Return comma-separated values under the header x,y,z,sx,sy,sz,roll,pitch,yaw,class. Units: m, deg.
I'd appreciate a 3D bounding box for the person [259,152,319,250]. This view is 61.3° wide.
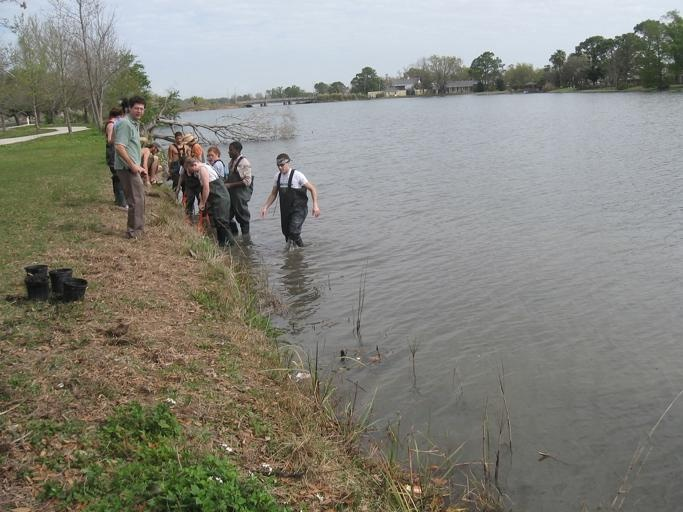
x,y,z,sx,sy,sz,roll,pitch,yaw,class
-1.324,-1.322,14.649,1.112,2.544,1.551,-7,15,-25,person

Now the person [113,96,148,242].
x,y,z,sx,sy,sz,roll,pitch,yaw,class
-4.614,-1.887,12.574,0.605,3.081,0.927,-5,15,-18,person
